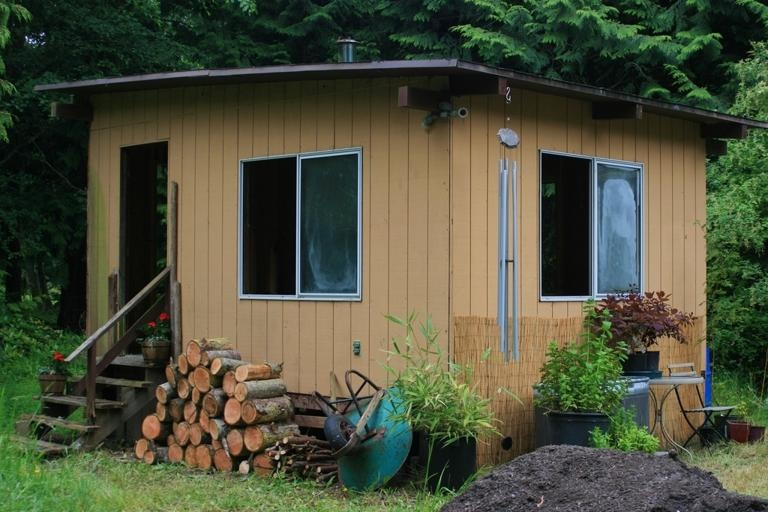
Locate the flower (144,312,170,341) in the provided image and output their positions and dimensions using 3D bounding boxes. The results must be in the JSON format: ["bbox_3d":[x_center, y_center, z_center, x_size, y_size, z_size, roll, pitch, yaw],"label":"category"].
[{"bbox_3d":[-3.474,1.076,14.413,0.408,0.420,0.402,-7,4,-43],"label":"flower"}]

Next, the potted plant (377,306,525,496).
[{"bbox_3d":[0.760,1.838,11.958,1.466,2.251,1.553,-3,14,-2],"label":"potted plant"}]

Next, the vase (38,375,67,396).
[{"bbox_3d":[-4.924,1.947,14.017,0.283,0.225,0.299,6,-9,-28],"label":"vase"}]

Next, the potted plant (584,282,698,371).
[{"bbox_3d":[3.527,1.084,13.049,1.316,1.380,1.101,1,-4,-1],"label":"potted plant"}]

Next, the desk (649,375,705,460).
[{"bbox_3d":[3.962,2.235,13.491,0.756,1.091,0.868,5,0,5],"label":"desk"}]

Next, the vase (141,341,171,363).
[{"bbox_3d":[-3.317,1.378,13.653,0.284,0.259,0.324,1,-5,2],"label":"vase"}]
